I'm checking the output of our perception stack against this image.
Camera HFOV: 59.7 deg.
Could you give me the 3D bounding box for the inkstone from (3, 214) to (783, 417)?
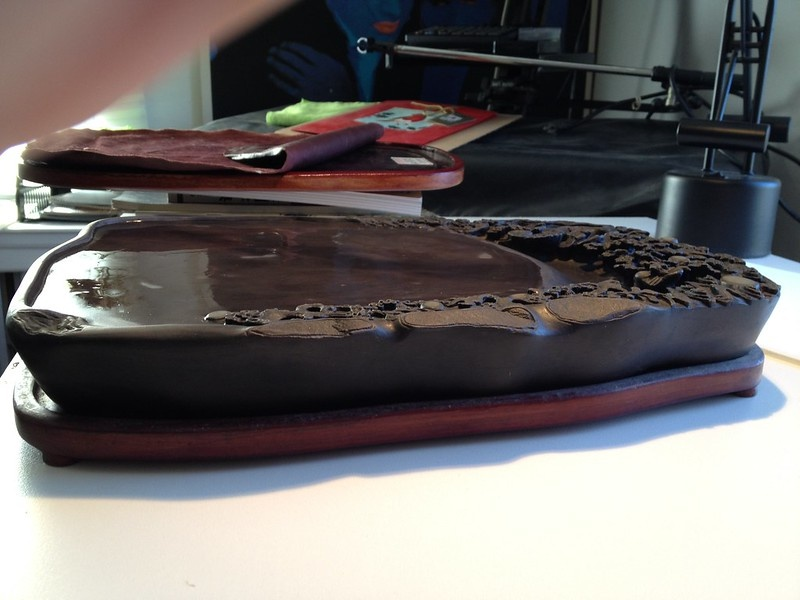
[{"bbox_3d":[0.012,0.025,0.473,0.486,0.053,0.215,-1,12,-12],"label":"inkstone"}]
